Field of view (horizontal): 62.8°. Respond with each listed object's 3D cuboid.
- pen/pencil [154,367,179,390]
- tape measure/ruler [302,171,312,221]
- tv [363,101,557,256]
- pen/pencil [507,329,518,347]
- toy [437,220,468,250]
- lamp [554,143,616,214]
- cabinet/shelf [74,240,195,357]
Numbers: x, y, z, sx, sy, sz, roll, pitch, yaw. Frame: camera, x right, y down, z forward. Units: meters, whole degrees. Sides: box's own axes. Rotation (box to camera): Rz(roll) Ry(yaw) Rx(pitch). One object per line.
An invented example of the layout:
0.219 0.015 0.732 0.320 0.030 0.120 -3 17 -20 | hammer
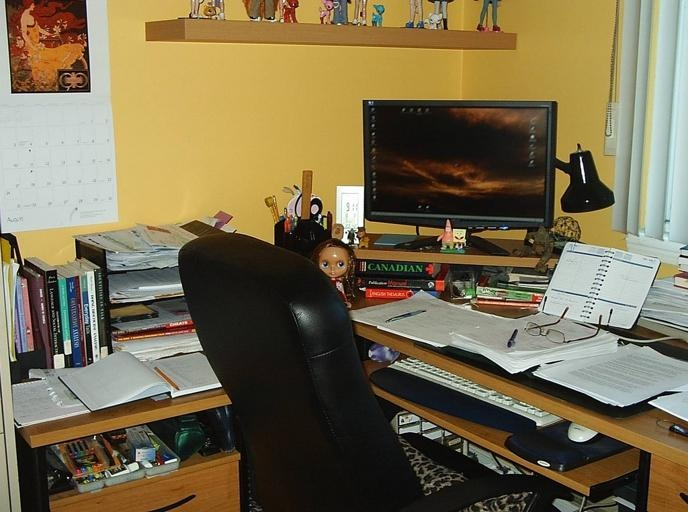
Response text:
-0.485 0.336 1.542 0.062 0.007 0.007 40 6 17 | pen/pencil
-0.132 -0.216 1.996 0.043 0.177 0.008 -11 25 -38 | tape measure/ruler
0.414 -0.276 1.998 0.761 0.511 0.149 11 20 42 | tv
0.452 0.215 1.515 0.019 0.009 0.079 10 27 27 | pen/pencil
0.380 -0.076 1.959 0.107 0.092 0.053 -1 26 10 | toy
0.789 -0.259 1.868 0.188 0.192 0.167 -13 17 -5 | lamp
-0.626 0.129 1.664 0.343 0.286 0.181 -10 19 -37 | cabinet/shelf
